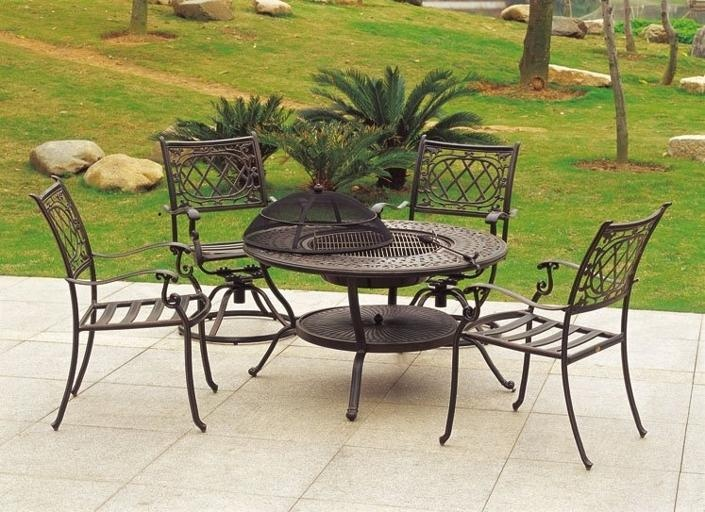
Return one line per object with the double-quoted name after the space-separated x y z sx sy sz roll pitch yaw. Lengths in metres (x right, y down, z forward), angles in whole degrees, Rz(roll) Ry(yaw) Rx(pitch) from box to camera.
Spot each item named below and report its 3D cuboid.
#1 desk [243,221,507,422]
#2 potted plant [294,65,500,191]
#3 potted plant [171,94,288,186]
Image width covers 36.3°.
0.216 0.497 10.031 2.495 0.859 2.094 5 10 23 "desk"
0.612 -1.912 15.761 2.738 1.687 1.101 5 48 -5 "potted plant"
-1.674 -1.815 16.208 1.835 1.381 0.715 5 62 4 "potted plant"
